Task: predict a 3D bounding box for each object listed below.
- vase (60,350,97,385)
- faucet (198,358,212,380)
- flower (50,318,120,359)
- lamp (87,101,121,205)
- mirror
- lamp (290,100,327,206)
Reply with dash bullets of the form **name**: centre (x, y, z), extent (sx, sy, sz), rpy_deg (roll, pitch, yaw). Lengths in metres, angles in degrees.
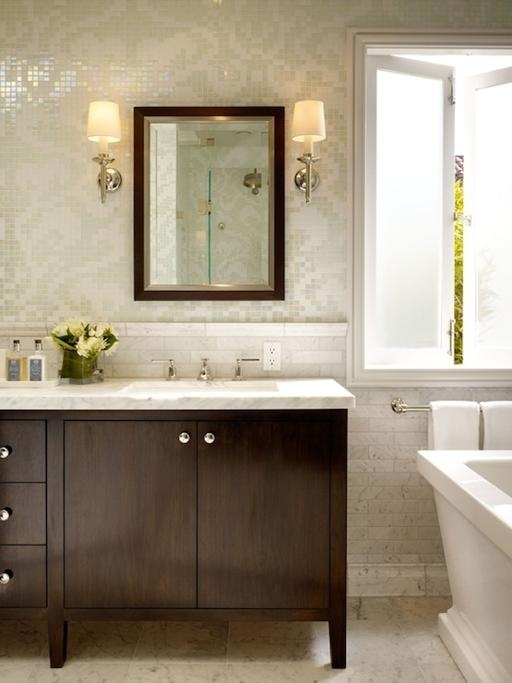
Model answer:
- **vase**: centre (-0.643, 0.094, 2.798), extent (0.116, 0.120, 0.123), rpy_deg (2, 4, 7)
- **faucet**: centre (-0.192, 0.105, 2.875), extent (0.048, 0.076, 0.109), rpy_deg (-1, 11, -4)
- **flower**: centre (-0.622, -0.011, 2.765), extent (0.187, 0.131, 0.175), rpy_deg (6, 13, 28)
- **lamp**: centre (-0.555, -0.701, 2.813), extent (0.127, 0.368, 0.228), rpy_deg (-3, 12, -12)
- **mirror**: centre (-0.187, -0.555, 2.879), extent (0.686, 0.908, 0.074), rpy_deg (0, 5, -3)
- **lamp**: centre (0.198, -0.706, 2.830), extent (0.133, 0.372, 0.209), rpy_deg (1, 11, 4)
